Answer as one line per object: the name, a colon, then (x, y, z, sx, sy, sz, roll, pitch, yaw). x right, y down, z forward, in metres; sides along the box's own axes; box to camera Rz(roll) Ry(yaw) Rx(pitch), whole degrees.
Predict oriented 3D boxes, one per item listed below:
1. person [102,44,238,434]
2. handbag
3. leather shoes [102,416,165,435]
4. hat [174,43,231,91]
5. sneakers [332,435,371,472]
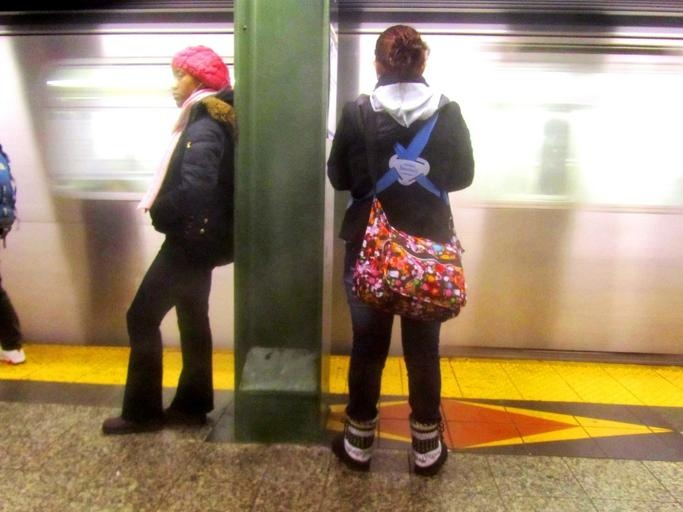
person: (-1.032, -0.063, 3.522, 0.884, 2.371, 0.424, -9, 20, -24)
handbag: (0.346, 0.012, 2.969, 0.562, 0.546, 0.283, 14, -18, -6)
leather shoes: (-1.354, 1.101, 3.702, 0.360, 0.135, 0.142, 5, -3, -9)
hat: (-0.837, -1.146, 3.424, 0.266, 0.161, 0.312, 27, 2, -45)
sneakers: (0.056, 1.156, 3.361, 0.111, 0.115, 0.274, 4, 11, -29)
